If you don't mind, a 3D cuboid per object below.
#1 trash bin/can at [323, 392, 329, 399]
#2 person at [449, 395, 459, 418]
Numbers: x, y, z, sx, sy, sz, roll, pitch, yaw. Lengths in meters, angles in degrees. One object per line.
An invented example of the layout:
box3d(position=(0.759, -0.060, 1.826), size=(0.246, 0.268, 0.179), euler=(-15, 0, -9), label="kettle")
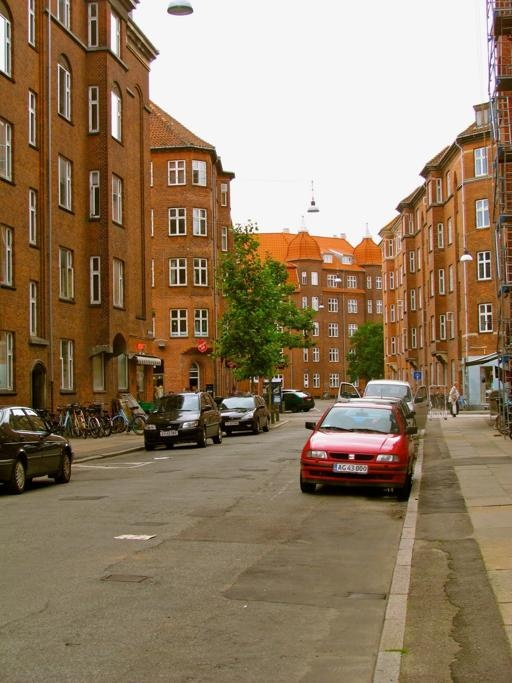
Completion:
box3d(position=(9.718, 7.464, 111.882), size=(0.652, 1.118, 0.723), euler=(-1, -5, 6), label="trash bin/can")
box3d(position=(10.996, 3.634, 45.035), size=(0.380, 1.039, 1.084), euler=(-5, -7, 10), label="person")
